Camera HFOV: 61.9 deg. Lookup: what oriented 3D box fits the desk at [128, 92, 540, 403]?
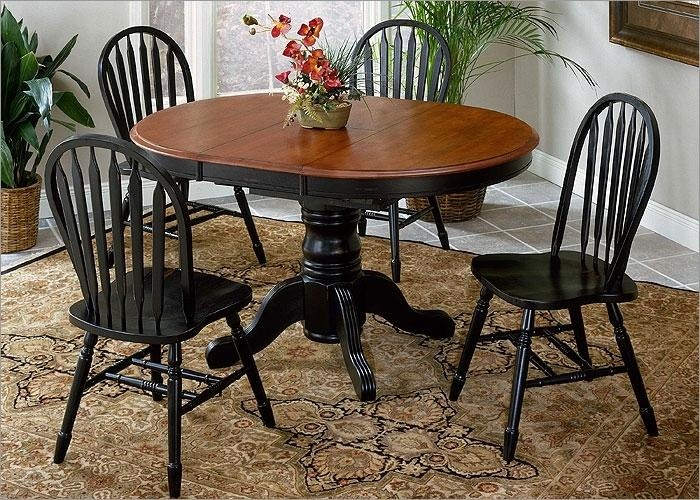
[{"bbox_3d":[-0.044,0.014,2.497,1.595,0.601,1.138,4,1,15],"label":"desk"}]
